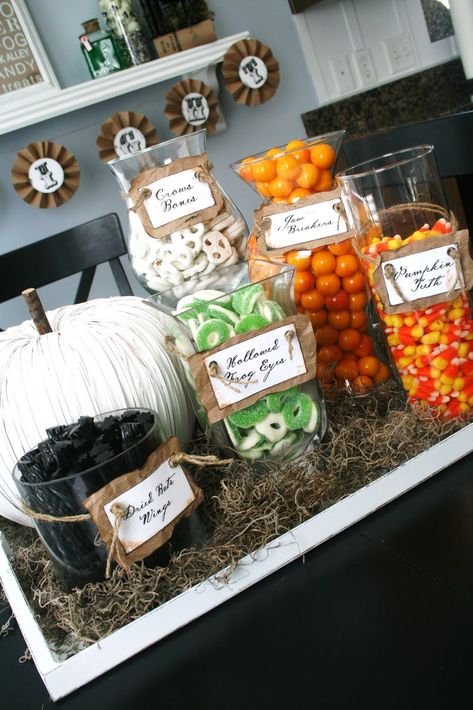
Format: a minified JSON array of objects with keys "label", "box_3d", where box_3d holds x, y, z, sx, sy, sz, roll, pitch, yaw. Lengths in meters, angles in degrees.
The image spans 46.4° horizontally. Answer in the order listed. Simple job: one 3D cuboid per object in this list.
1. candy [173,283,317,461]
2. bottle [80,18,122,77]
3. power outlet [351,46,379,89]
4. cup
[{"label":"candy","box_3d":[0.002,0.016,0.539,0.118,0.165,0.058,-26,4,-22]},{"label":"bottle","box_3d":[-0.458,-1.006,1.819,0.117,0.158,0.130,-24,20,1]},{"label":"power outlet","box_3d":[0.551,-1.243,2.383,0.142,0.188,0.022,-28,19,-21]},{"label":"cup","box_3d":[-0.074,0.110,0.485,0.136,0.152,0.135,-21,25,10]}]
